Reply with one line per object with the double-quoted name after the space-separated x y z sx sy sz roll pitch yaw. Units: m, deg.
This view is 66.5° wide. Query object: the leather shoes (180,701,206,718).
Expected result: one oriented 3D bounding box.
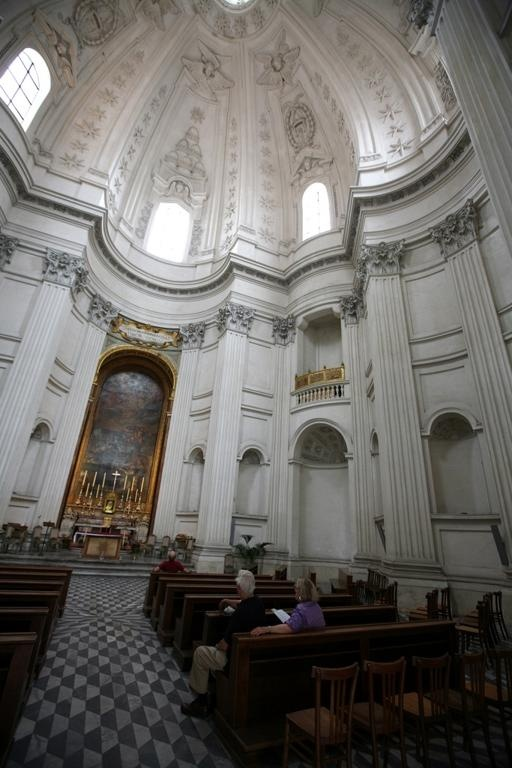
-0.454 2.346 2.832 0.205 0.083 0.068 -9 -24 25 "leather shoes"
